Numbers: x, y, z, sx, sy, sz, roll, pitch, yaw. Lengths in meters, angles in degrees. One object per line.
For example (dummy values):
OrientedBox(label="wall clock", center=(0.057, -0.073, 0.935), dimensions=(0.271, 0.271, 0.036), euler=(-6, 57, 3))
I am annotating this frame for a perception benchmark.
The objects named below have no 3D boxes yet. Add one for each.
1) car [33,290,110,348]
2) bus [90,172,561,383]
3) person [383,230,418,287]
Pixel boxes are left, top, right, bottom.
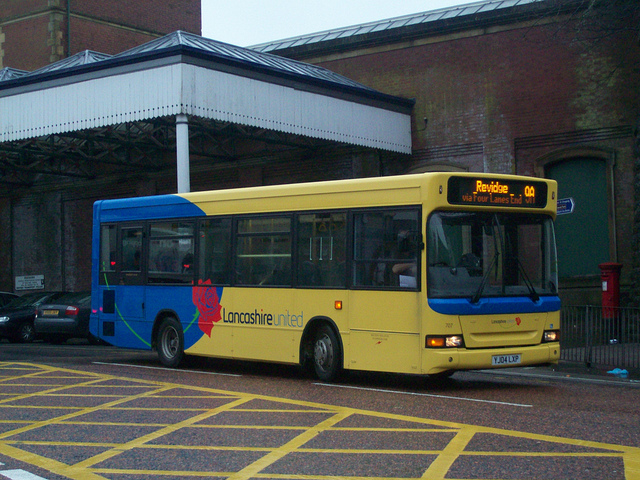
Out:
OrientedBox(label="car", center=(-6.914, 2.402, 24.388), dimensions=(1.510, 1.407, 2.918), euler=(0, -1, 27))
OrientedBox(label="bus", center=(-0.460, 0.749, 17.193), dimensions=(10.441, 3.890, 2.619), euler=(0, 2, 35))
OrientedBox(label="person", center=(1.408, 0.336, 14.564), dimensions=(0.526, 0.965, 0.231), euler=(0, 15, -10))
